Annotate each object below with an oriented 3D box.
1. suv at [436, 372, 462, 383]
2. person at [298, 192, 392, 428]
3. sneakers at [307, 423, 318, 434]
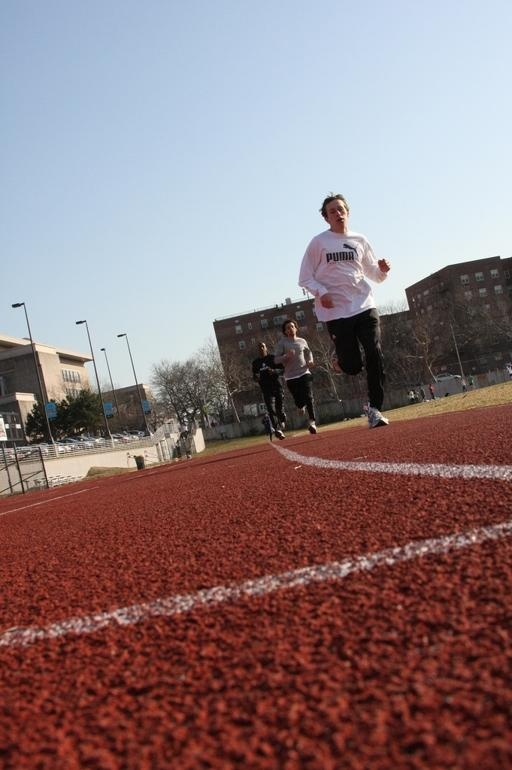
[{"bbox_3d":[21.061,-0.906,58.090,2.482,1.129,1.485,-11,-3,13],"label":"suv"},{"bbox_3d":[0.986,-0.773,5.438,0.935,2.312,0.717,-14,-4,-8],"label":"person"},{"bbox_3d":[0.832,0.674,7.814,0.114,0.133,0.313,0,-35,8],"label":"sneakers"}]
